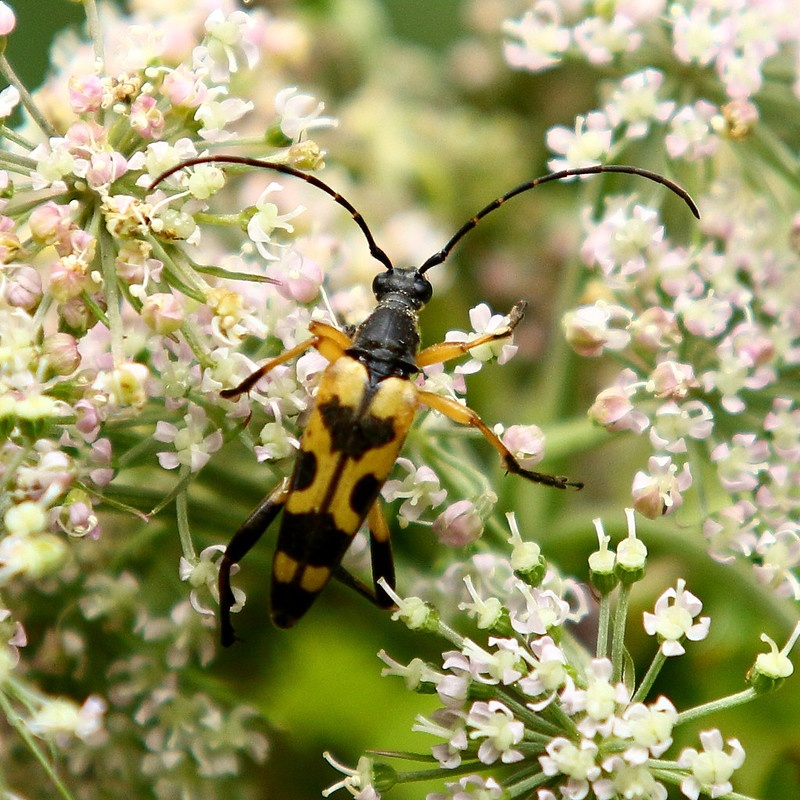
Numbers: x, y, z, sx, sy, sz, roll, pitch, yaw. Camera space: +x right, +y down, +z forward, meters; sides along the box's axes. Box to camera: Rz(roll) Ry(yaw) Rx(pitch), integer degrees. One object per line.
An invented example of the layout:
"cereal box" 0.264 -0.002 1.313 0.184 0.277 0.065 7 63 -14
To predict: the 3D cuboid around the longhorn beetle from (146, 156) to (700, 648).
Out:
"longhorn beetle" 0.050 0.106 2.445 0.741 1.333 0.869 -2 7 -3
